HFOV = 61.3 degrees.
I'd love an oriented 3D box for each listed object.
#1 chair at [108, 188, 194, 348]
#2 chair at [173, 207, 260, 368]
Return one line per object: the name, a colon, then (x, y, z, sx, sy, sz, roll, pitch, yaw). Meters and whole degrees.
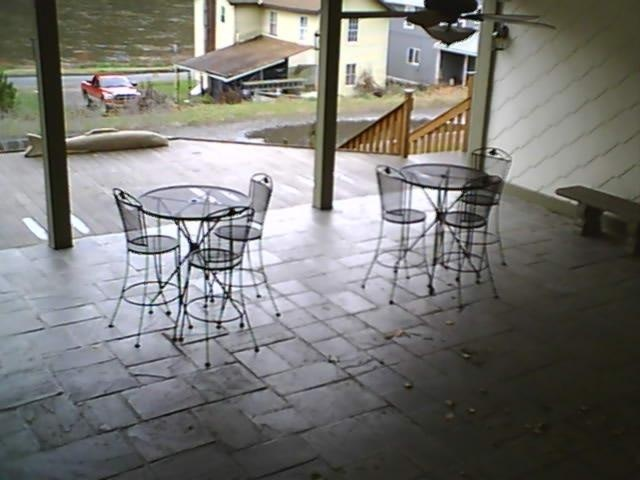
chair: (-1.570, 0.307, 5.034, 0.844, 1.572, 0.695, -12, 46, -37)
chair: (-0.920, 0.452, 4.815, 0.761, 1.366, 0.742, -17, 38, -36)
